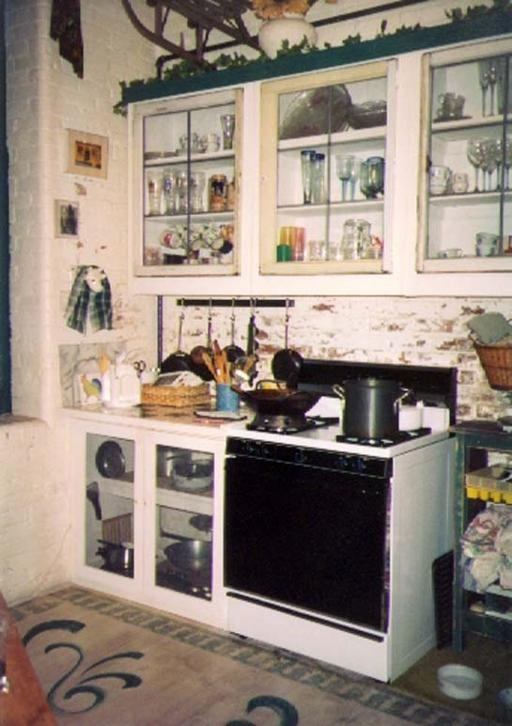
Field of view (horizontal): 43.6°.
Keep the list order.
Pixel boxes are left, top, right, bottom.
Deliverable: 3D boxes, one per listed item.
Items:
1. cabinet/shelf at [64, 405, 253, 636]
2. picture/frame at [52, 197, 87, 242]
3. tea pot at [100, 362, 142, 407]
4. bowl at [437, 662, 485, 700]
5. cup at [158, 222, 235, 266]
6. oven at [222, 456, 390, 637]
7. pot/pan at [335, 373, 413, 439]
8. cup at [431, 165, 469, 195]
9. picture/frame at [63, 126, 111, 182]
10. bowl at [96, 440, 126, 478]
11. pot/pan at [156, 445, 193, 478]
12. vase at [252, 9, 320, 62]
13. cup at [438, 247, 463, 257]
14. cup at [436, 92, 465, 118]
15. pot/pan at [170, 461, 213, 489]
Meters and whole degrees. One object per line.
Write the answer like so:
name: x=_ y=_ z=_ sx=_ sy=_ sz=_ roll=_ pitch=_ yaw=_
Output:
cabinet/shelf: x=-0.366 y=0.630 z=2.536 sx=0.814 sy=0.774 sz=0.322 roll=2 pitch=1 yaw=35
picture/frame: x=-0.831 y=-0.628 z=2.815 sx=0.025 sy=0.165 sz=0.154 roll=1 pitch=2 yaw=24
tea pot: x=-0.644 y=0.101 z=3.038 sx=0.182 sy=0.189 sz=0.418 roll=-1 pitch=2 yaw=-12
bowl: x=0.641 y=0.996 z=1.993 sx=0.139 sy=0.045 sz=0.137 roll=0 pitch=2 yaw=0
cup: x=-0.251 y=-0.495 z=2.781 sx=0.284 sy=0.114 sz=0.181 roll=0 pitch=15 yaw=39
oven: x=0.240 y=0.567 z=2.243 sx=0.671 sy=0.574 sz=0.379 roll=0 pitch=-5 yaw=41
pot/pan: x=0.382 y=0.151 z=2.070 sx=0.280 sy=0.202 sz=0.172 roll=2 pitch=7 yaw=27
cup: x=0.632 y=-0.599 z=2.107 sx=0.127 sy=0.089 sz=0.078 roll=9 pitch=13 yaw=43
picture/frame: x=-0.761 y=-0.936 z=2.885 sx=0.244 sy=0.185 sz=0.008 roll=17 pitch=22 yaw=25
bowl: x=-0.631 y=0.421 z=2.769 sx=0.157 sy=0.159 sz=0.039 roll=17 pitch=19 yaw=42
pot/pan: x=-0.317 y=0.387 z=2.515 sx=0.140 sy=0.139 sz=0.078 roll=1 pitch=3 yaw=20
vase: x=0.113 y=-1.229 z=2.442 sx=0.156 sy=0.188 sz=0.134 roll=-1 pitch=21 yaw=-5
cup: x=0.655 y=-0.362 z=2.126 sx=0.044 sy=0.023 sz=0.056 roll=-3 pitch=-2 yaw=-1
cup: x=0.636 y=-0.833 z=2.082 sx=0.082 sy=0.094 sz=0.066 roll=4 pitch=4 yaw=3
pot/pan: x=-0.251 y=0.445 z=2.483 sx=0.194 sy=0.111 sz=0.029 roll=1 pitch=3 yaw=39
